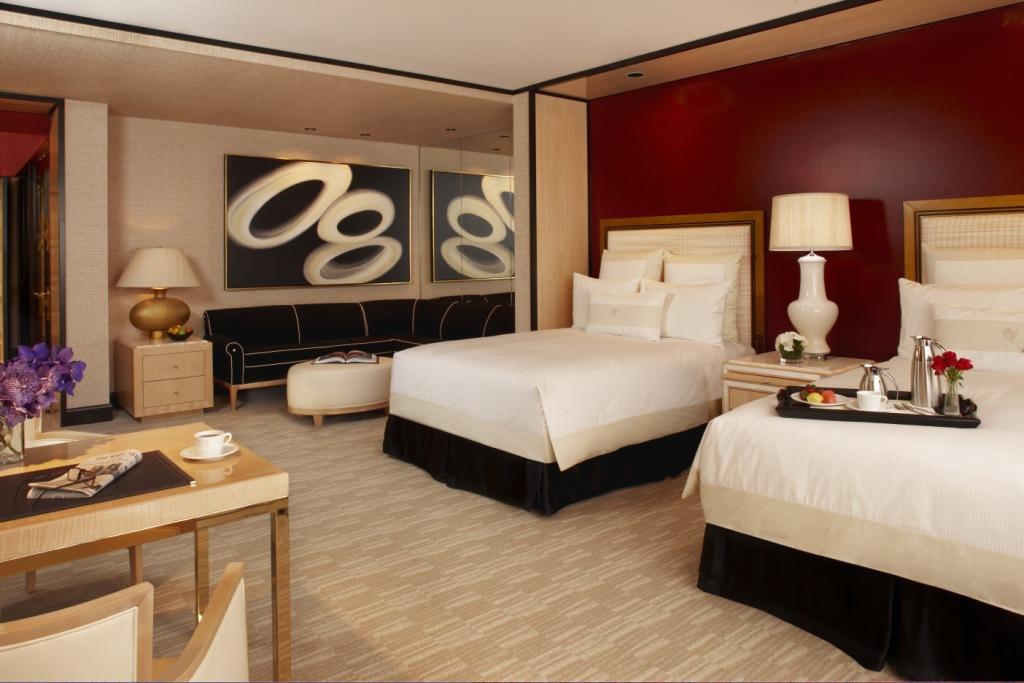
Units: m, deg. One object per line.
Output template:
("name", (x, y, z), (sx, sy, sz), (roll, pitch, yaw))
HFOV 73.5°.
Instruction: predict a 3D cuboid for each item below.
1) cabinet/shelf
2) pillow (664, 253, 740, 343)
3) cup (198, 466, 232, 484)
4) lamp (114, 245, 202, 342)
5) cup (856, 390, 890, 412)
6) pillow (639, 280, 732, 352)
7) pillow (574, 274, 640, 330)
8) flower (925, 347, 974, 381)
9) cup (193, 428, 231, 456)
("cabinet/shelf", (-3.406, 0.353, 6.620), (0.793, 0.672, 0.812), (-2, 2, -43))
("pillow", (1.509, -0.319, 5.408), (0.753, 0.735, 0.291), (-1, -11, 41))
("cup", (-1.192, 0.532, 2.738), (0.081, 0.034, 0.060), (2, -1, -40))
("lamp", (-3.381, -0.491, 6.892), (0.922, 0.991, 0.926), (7, 11, 39))
("cup", (1.708, 0.284, 3.269), (0.087, 0.084, 0.134), (-3, 6, -39))
("pillow", (1.324, -0.177, 5.255), (0.564, 0.361, 0.196), (9, 5, 37))
("pillow", (0.796, -0.318, 5.696), (0.194, 0.424, 0.498), (16, -11, -37))
("flower", (2.056, 0.118, 3.283), (0.209, 0.194, 0.206), (9, -9, -42))
("cup", (-1.283, 0.432, 2.924), (0.139, 0.086, 0.107), (2, -4, -24))
